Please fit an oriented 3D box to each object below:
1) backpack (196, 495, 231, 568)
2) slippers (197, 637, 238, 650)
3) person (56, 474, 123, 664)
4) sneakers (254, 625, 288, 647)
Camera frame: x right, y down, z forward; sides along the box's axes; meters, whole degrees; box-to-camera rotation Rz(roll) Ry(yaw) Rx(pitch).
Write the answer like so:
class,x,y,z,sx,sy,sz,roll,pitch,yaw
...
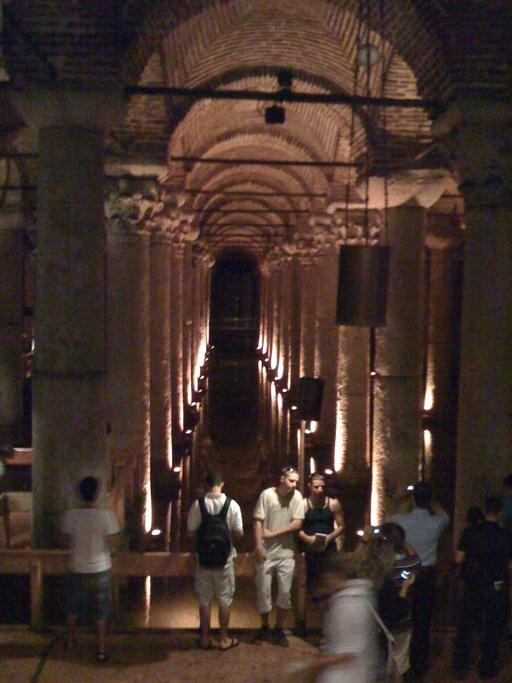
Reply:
class,x,y,z,sx,sy,sz,roll,pitch,yaw
backpack,-0.298,1.312,8.865,0.230,0.461,0.149,3,-4,-3
slippers,-0.272,2.092,8.892,0.201,0.069,0.120,-1,-2,-5
person,-1.158,1.523,8.766,0.378,1.206,0.440,3,-4,-9
sneakers,0.113,2.074,9.092,0.238,0.112,0.294,3,-4,3
